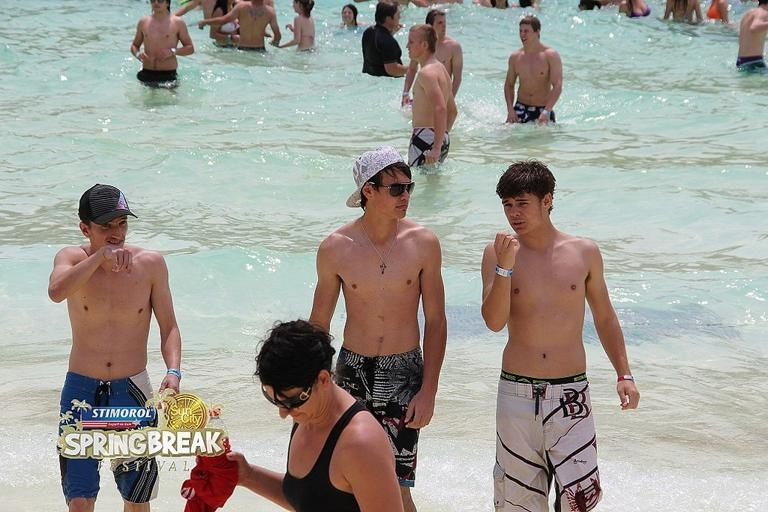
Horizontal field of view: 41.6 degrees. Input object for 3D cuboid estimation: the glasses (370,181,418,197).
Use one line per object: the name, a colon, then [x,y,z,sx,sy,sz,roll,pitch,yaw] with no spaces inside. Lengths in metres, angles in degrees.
glasses: [0.113,-0.608,8.668,0.236,0.073,0.185,9,13,42]

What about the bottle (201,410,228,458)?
bottle: [-1.288,1.321,7.847,0.163,0.337,0.358,-2,12,-10]

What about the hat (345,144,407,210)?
hat: [-0.122,-0.669,8.844,0.637,0.298,0.395,-34,2,16]

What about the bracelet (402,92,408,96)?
bracelet: [0.329,-2.487,15.360,0.056,0.061,0.066,-3,-4,-7]

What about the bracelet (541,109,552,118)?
bracelet: [2.418,-2.139,15.012,0.140,0.097,0.128,-9,19,3]

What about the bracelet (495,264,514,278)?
bracelet: [1.032,0.121,8.531,0.177,0.115,0.124,-3,12,-16]

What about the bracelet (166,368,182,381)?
bracelet: [-1.796,1.007,8.642,0.111,0.108,0.180,-1,11,-4]

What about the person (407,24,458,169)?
person: [0.628,-2.081,13.179,0.627,1.886,0.829,1,13,3]

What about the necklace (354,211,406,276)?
necklace: [-0.016,-0.119,8.696,0.273,0.533,0.094,-1,-32,-3]

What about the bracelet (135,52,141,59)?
bracelet: [-4.104,-3.363,16.917,0.114,0.075,0.099,1,42,2]

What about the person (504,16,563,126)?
person: [2.236,-2.769,14.999,0.857,1.572,0.464,4,14,17]

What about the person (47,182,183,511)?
person: [-2.279,0.880,8.680,1.049,2.948,0.887,-3,13,-13]

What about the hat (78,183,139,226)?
hat: [-2.363,-0.454,8.612,0.482,0.245,0.336,-4,4,39]
